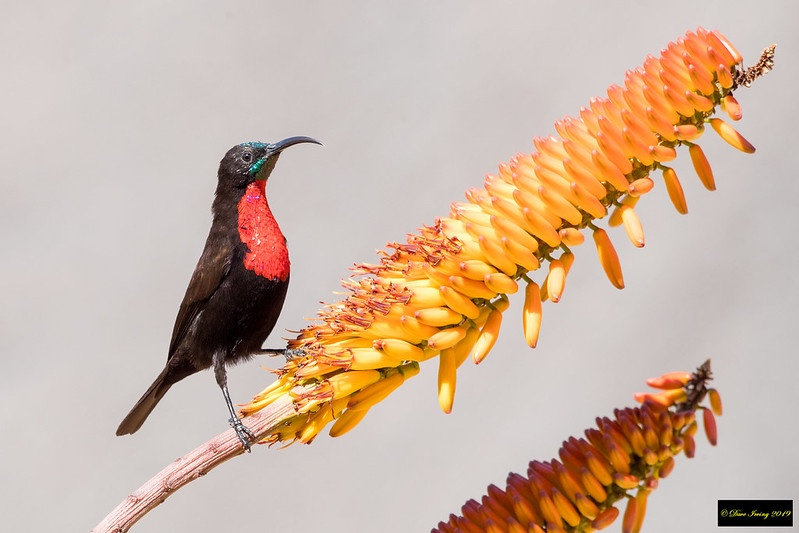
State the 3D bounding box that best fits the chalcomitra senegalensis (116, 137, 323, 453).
[{"bbox_3d":[-0.699,0.090,5.002,1.028,1.185,0.498,-5,-3,24],"label":"chalcomitra senegalensis"}]
